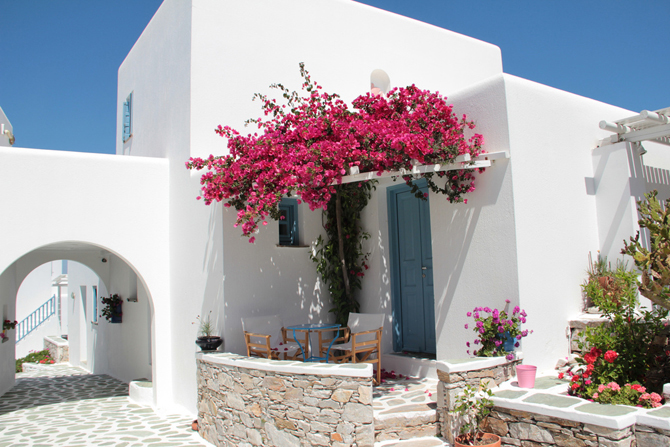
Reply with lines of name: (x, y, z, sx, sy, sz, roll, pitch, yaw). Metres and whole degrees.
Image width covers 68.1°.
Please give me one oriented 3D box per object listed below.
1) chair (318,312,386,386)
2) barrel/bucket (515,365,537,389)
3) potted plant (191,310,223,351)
chair: (0.292, 2.739, 10.530, 1.086, 1.599, 0.990, -10, -15, 44)
barrel/bucket: (3.194, 2.550, 8.238, 0.285, 0.287, 0.334, -2, -11, 14)
potted plant: (-2.739, 2.287, 10.744, 0.751, 1.096, 0.748, 2, -10, -27)
